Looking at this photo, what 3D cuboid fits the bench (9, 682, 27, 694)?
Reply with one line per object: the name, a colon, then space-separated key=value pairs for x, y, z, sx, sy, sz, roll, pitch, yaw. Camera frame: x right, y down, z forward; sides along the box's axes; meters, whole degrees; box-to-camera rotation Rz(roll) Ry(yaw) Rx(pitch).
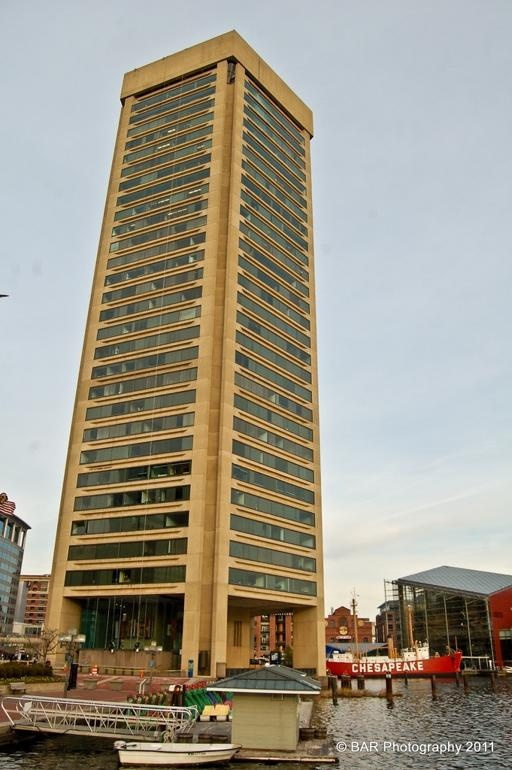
bench: x=-13.819 y=17.794 z=34.546 sx=0.853 sy=0.665 sz=1.685 roll=8 pitch=-23 yaw=-19
